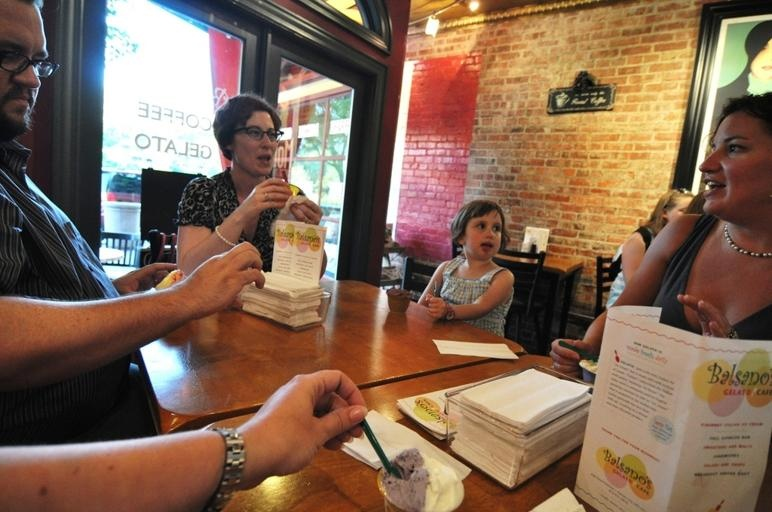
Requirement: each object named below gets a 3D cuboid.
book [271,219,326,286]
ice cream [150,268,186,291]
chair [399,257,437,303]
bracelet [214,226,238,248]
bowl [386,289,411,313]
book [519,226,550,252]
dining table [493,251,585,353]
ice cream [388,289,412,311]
[{"bbox_3d":[-0.371,-0.015,2.160,0.257,0.243,0.037,13,8,29],"label":"book"},{"bbox_3d":[-0.843,0.090,1.978,0.047,0.052,0.144,5,17,25],"label":"ice cream"},{"bbox_3d":[0.315,0.212,4.837,0.293,0.526,0.294,17,20,9],"label":"chair"},{"bbox_3d":[-0.748,-0.082,2.387,0.103,0.029,0.109,41,-15,-2],"label":"bracelet"},{"bbox_3d":[0.060,0.207,2.389,0.106,0.082,0.104,2,-8,0],"label":"bowl"},{"bbox_3d":[1.421,-0.165,4.831,0.251,0.252,0.071,5,-8,36],"label":"book"},{"bbox_3d":[1.208,0.312,3.938,0.592,0.739,0.799,11,11,16],"label":"dining table"},{"bbox_3d":[0.061,0.207,2.383,0.101,0.081,0.100,3,-7,-5],"label":"ice cream"}]
